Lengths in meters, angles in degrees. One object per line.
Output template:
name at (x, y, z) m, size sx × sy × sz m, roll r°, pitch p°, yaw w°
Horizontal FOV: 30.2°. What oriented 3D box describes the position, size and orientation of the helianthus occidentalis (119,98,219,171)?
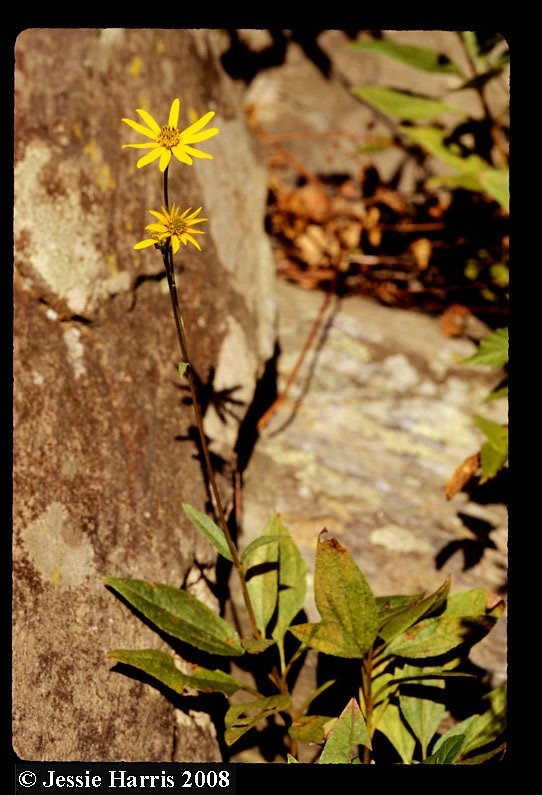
helianthus occidentalis at (-0.163, -0.412, 1.629) m, size 0.148 × 0.042 × 0.153 m, roll 8°, pitch 6°, yaw 20°
